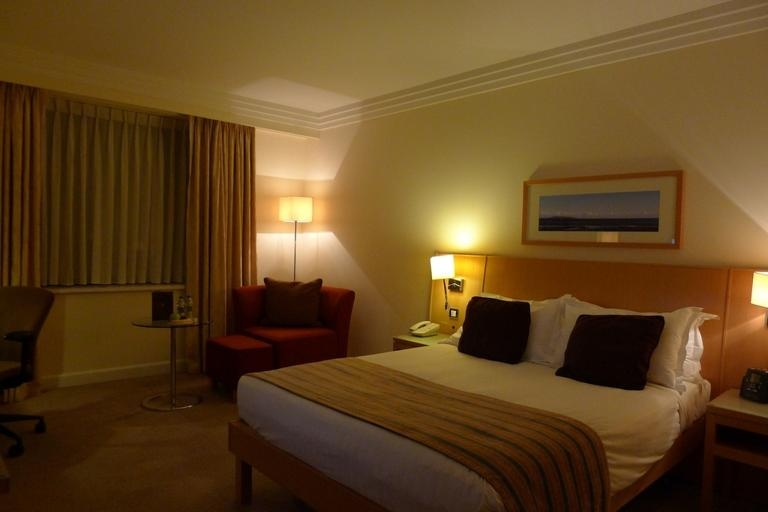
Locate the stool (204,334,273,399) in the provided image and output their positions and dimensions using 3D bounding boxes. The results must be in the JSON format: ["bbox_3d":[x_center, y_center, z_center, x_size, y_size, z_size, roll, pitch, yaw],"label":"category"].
[{"bbox_3d":[-1.617,1.214,6.053,0.475,0.589,0.829,-3,4,-41],"label":"stool"}]

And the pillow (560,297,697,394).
[{"bbox_3d":[2.378,0.756,4.640,0.685,0.767,0.230,6,-10,27],"label":"pillow"}]

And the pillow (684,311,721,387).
[{"bbox_3d":[2.546,0.746,4.446,0.144,0.498,0.466,1,8,27],"label":"pillow"}]

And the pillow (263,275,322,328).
[{"bbox_3d":[-1.107,0.574,6.570,0.535,0.452,0.200,1,-29,0],"label":"pillow"}]

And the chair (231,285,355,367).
[{"bbox_3d":[-1.161,0.919,6.672,1.337,1.076,1.232,-1,1,-24],"label":"chair"}]

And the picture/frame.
[{"bbox_3d":[1.998,-0.392,5.029,1.323,0.670,0.075,1,15,28],"label":"picture/frame"}]

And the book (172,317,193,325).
[{"bbox_3d":[-2.072,0.660,5.601,0.204,0.038,0.255,-6,14,-24],"label":"book"}]

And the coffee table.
[{"bbox_3d":[-2.192,1.134,5.665,0.715,0.785,0.719,-6,1,-29],"label":"coffee table"}]

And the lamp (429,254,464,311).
[{"bbox_3d":[0.650,0.299,5.829,0.260,0.578,0.188,-4,-8,13],"label":"lamp"}]
